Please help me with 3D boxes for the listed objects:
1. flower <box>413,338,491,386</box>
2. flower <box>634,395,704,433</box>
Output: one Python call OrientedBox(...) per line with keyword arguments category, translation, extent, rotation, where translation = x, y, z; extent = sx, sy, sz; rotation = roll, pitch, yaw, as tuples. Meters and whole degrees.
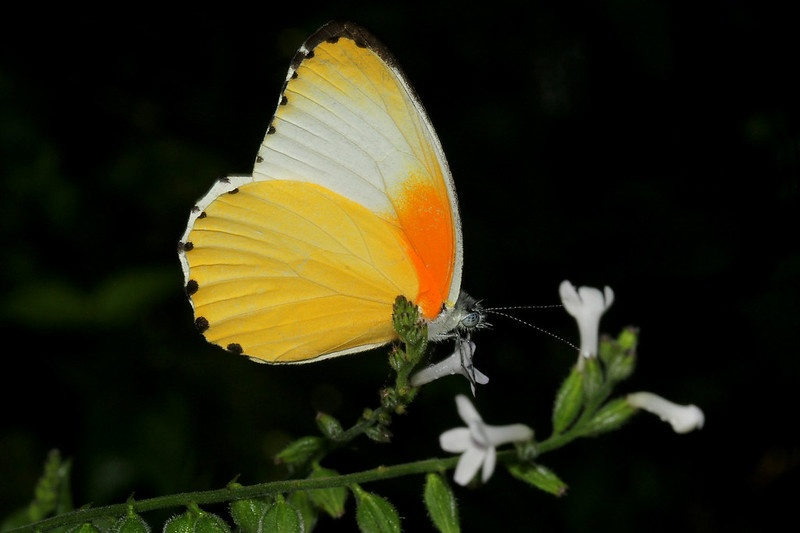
OrientedBox(category="flower", translation=(0.344, 0.777, 6.339), extent=(0.390, 0.311, 0.379), rotation=(-17, 10, 5))
OrientedBox(category="flower", translation=(1.921, 1.018, 5.820), extent=(0.526, 0.192, 0.232), rotation=(12, 14, 33))
